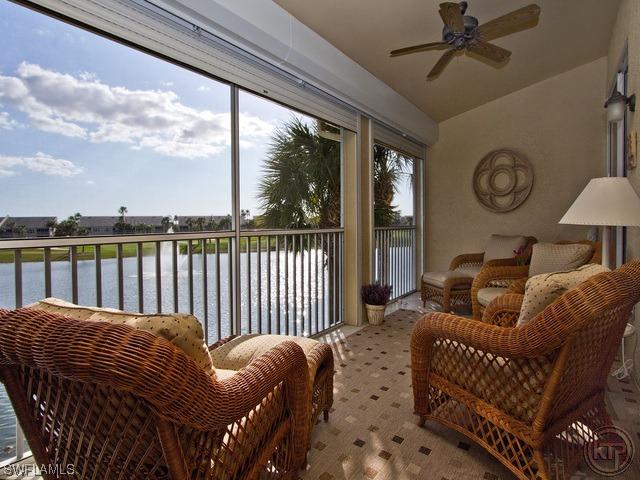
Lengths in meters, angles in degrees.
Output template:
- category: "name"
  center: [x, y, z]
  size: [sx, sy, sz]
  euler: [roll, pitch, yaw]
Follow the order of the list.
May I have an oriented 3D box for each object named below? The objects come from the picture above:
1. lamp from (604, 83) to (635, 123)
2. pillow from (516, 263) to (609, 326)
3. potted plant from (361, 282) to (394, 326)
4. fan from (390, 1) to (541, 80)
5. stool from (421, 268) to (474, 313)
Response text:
- category: "lamp"
  center: [2.331, -1.032, 3.194]
  size: [0.250, 0.265, 0.209]
  euler: [1, -3, 7]
- category: "pillow"
  center: [1.297, 0.309, 2.174]
  size: [0.475, 0.304, 0.201]
  euler: [-2, 2, -17]
- category: "potted plant"
  center: [0.568, 0.712, 4.432]
  size: [0.397, 0.478, 0.391]
  euler: [1, -6, 1]
- category: "fan"
  center: [1.081, -1.521, 3.015]
  size: [0.817, 0.449, 0.769]
  euler: [-2, 1, -6]
- category: "stool"
  center: [1.486, 0.573, 4.701]
  size: [0.450, 0.411, 0.454]
  euler: [-1, 3, -26]
